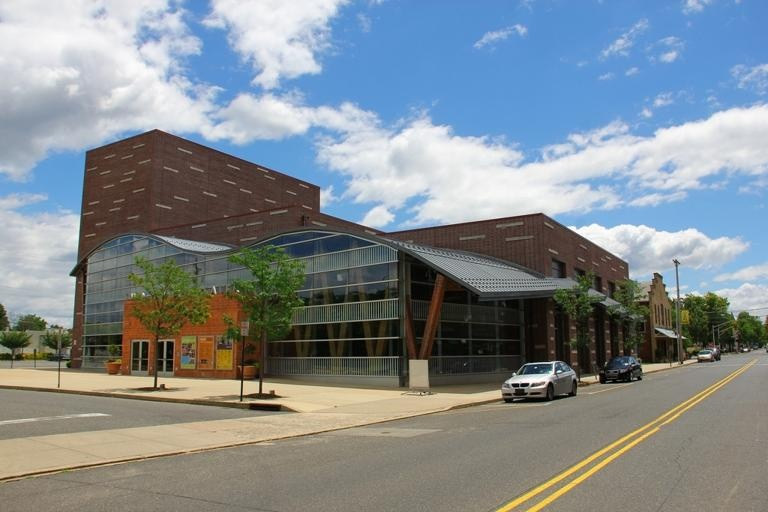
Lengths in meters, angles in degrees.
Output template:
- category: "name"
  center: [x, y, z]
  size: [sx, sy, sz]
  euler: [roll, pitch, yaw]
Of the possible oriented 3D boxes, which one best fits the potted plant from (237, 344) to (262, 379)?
- category: "potted plant"
  center: [-8.034, 6.132, 36.710]
  size: [1.060, 2.156, 2.552]
  euler: [0, -5, -12]
